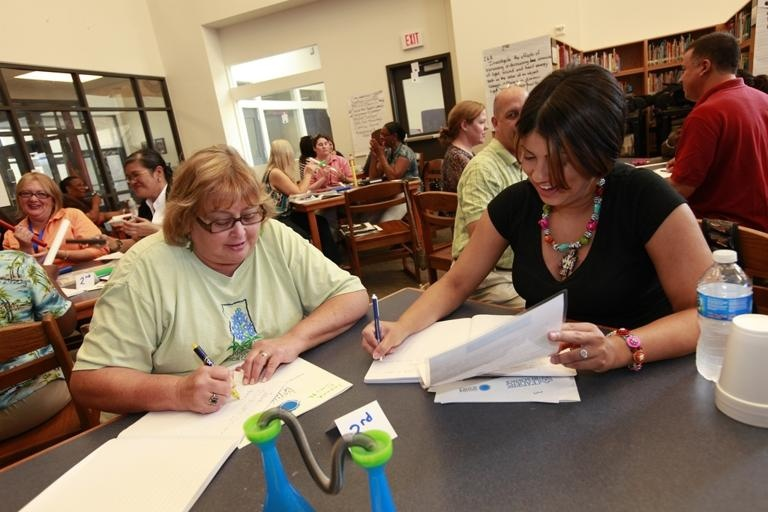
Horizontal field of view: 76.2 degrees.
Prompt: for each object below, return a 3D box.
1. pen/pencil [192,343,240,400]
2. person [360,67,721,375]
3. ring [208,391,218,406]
[{"bbox_3d":[-0.543,0.365,1.534,0.028,0.169,0.027,-35,4,-20],"label":"pen/pencil"},{"bbox_3d":[0.744,-0.226,1.979,1.126,1.253,0.862,-20,19,-31],"label":"person"},{"bbox_3d":[-0.510,0.418,1.438,0.023,0.030,0.043,5,16,-9],"label":"ring"}]
